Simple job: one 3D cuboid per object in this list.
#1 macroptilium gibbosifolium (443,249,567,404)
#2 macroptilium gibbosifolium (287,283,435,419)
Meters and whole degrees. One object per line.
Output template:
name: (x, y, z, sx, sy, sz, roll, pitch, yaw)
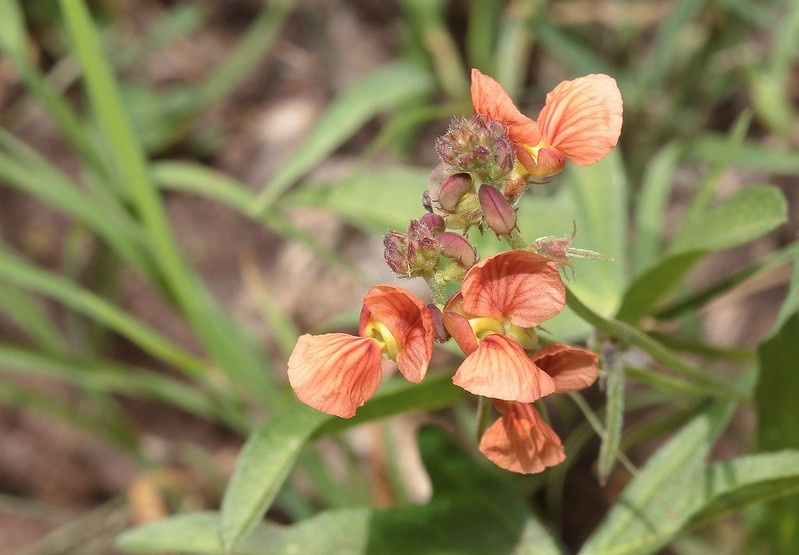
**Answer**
macroptilium gibbosifolium: (0.199, 0.088, 1.464, 0.244, 0.190, 0.154, -18, 8, 1)
macroptilium gibbosifolium: (-0.051, 0.163, 1.544, 0.281, 0.216, 0.122, -35, -19, -5)
